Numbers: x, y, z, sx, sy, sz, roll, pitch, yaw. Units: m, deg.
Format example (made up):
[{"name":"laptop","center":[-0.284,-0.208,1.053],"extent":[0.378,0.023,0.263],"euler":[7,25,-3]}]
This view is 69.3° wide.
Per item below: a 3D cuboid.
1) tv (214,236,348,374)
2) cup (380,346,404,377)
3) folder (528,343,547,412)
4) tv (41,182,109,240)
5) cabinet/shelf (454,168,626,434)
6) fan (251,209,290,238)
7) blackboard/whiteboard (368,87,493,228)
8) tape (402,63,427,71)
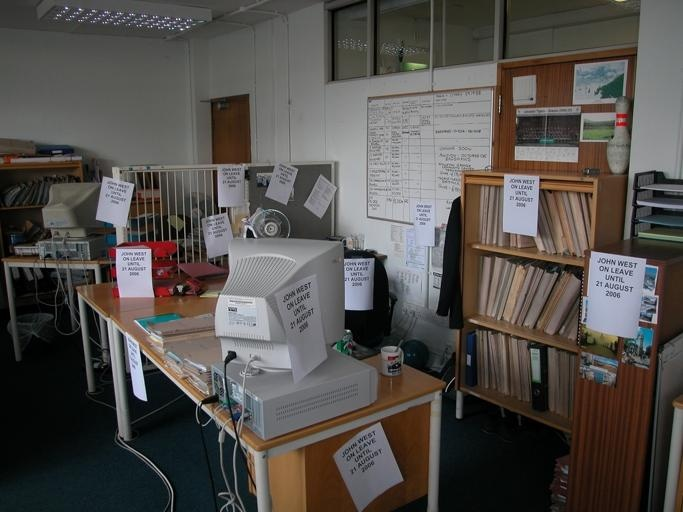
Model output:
[{"name":"tv","center":[-0.285,0.107,2.201],"extent":[0.565,0.552,0.500],"euler":[7,15,31]},{"name":"cup","center":[0.237,0.498,2.352],"extent":[0.087,0.131,0.137],"euler":[7,10,43]},{"name":"folder","center":[1.275,0.788,3.198],"extent":[0.147,0.439,0.068],"euler":[9,17,35]},{"name":"tv","center":[-2.409,-0.451,4.572],"extent":[0.513,0.552,0.497],"euler":[6,12,22]},{"name":"cabinet/shelf","center":[1.241,0.336,3.278],"extent":[0.460,1.778,0.953],"euler":[-13,19,-41]},{"name":"fan","center":[-0.624,-0.269,4.304],"extent":[0.243,0.308,0.601],"euler":[0,15,3]},{"name":"blackboard/whiteboard","center":[0.766,-0.847,4.088],"extent":[0.088,1.108,1.182],"euler":[-5,9,-38]},{"name":"tape","center":[0.637,-1.640,4.245],"extent":[0.033,0.084,0.296],"euler":[-9,17,-29]}]
